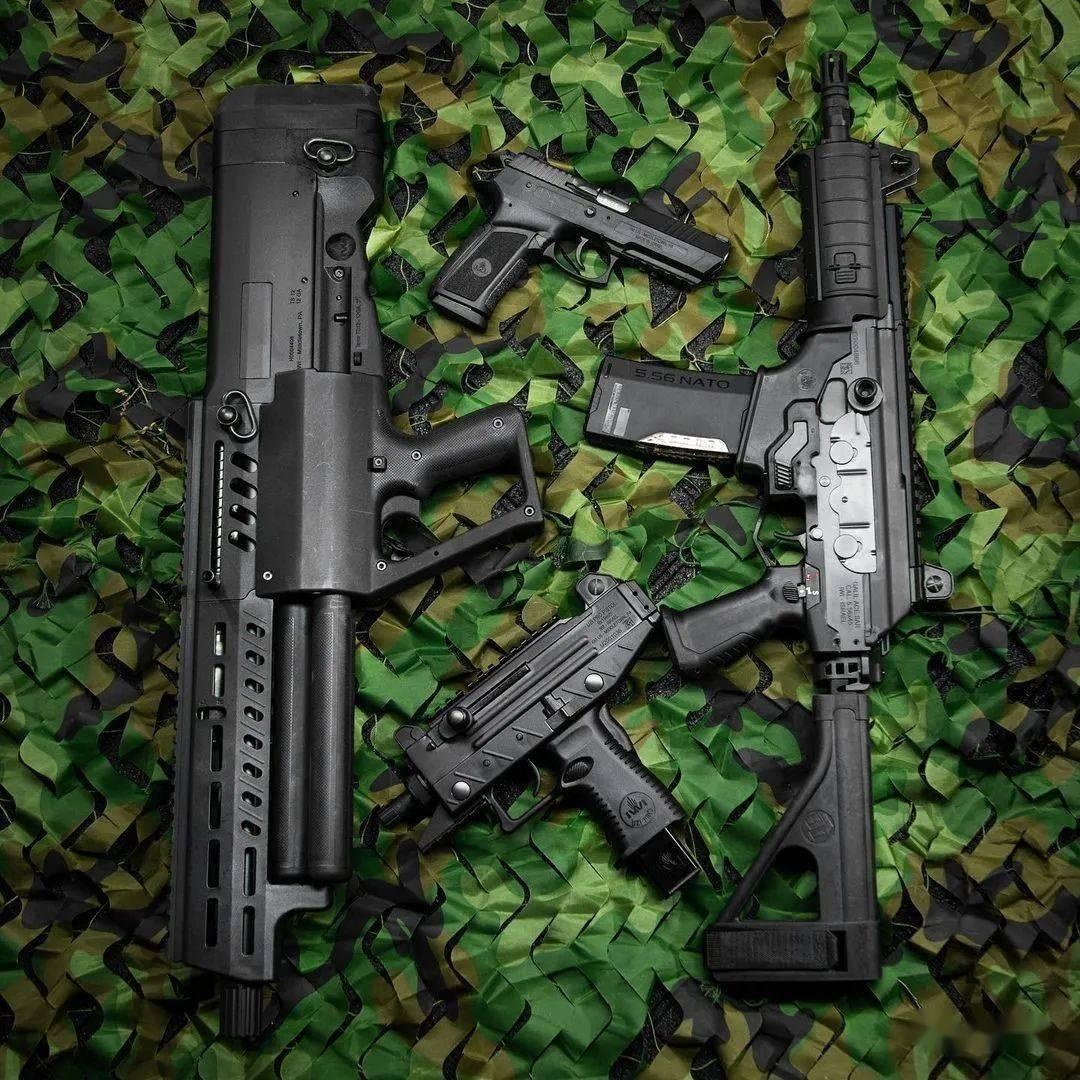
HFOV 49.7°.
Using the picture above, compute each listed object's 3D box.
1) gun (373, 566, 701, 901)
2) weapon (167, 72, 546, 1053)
[{"bbox_3d":[-0.015,0.436,2.463,0.634,0.115,0.529,-32,74,-3],"label":"gun"},{"bbox_3d":[-0.498,-0.029,2.707,0.854,0.569,2.023,5,84,-22],"label":"weapon"}]
